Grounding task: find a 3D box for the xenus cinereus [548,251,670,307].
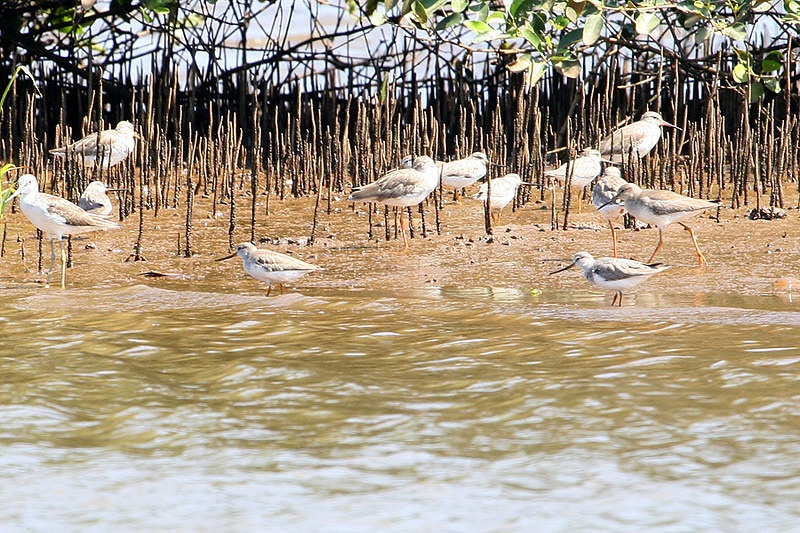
[{"bbox_3d":[1.979,0.111,7.922,1.043,0.372,0.246,-1,-1,-5],"label":"xenus cinereus"}]
